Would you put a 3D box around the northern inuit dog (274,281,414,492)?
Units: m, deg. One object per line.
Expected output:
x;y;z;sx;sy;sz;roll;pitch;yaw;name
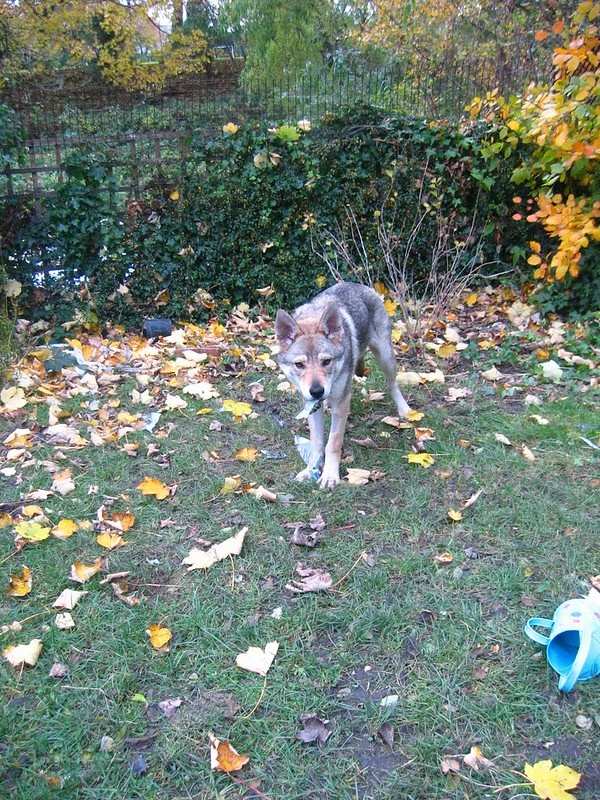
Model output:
0.324;-0.188;4.639;0.872;1.125;1.538;8;21;11;northern inuit dog

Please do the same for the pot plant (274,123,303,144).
-0.132;-3.248;8.233;0.312;0.314;0.155;-1;6;-5;pot plant

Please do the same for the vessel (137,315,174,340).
-1.643;-0.844;7.780;0.324;0.277;0.290;-5;13;-15;vessel
